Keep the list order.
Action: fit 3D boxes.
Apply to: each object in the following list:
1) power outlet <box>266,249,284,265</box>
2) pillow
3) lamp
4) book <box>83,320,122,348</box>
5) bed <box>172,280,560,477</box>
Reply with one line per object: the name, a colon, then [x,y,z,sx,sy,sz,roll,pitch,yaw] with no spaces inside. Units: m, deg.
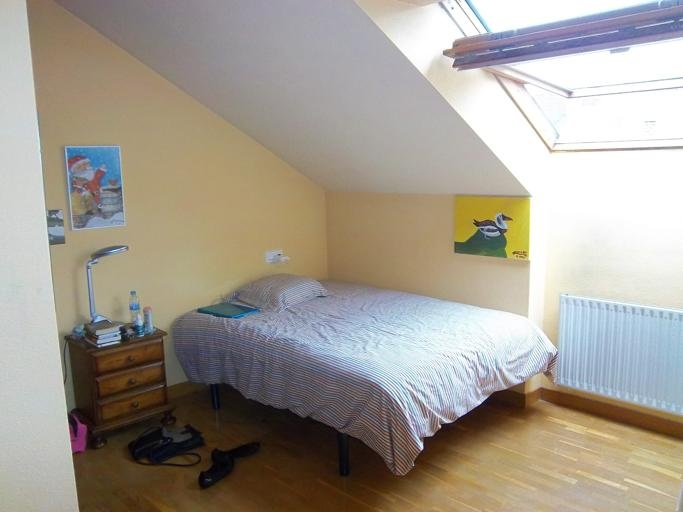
power outlet: [-0.643,0.011,4.425,0.219,0.132,0.123,-12,15,-39]
pillow: [-0.501,0.298,4.000,0.459,0.120,0.463,6,13,36]
lamp: [-1.731,0.202,3.427,0.309,0.560,0.264,-9,15,-26]
book: [-1.697,0.552,3.276,0.220,0.067,0.167,9,10,42]
bed: [-0.110,0.649,3.159,1.723,0.363,1.440,11,19,40]
